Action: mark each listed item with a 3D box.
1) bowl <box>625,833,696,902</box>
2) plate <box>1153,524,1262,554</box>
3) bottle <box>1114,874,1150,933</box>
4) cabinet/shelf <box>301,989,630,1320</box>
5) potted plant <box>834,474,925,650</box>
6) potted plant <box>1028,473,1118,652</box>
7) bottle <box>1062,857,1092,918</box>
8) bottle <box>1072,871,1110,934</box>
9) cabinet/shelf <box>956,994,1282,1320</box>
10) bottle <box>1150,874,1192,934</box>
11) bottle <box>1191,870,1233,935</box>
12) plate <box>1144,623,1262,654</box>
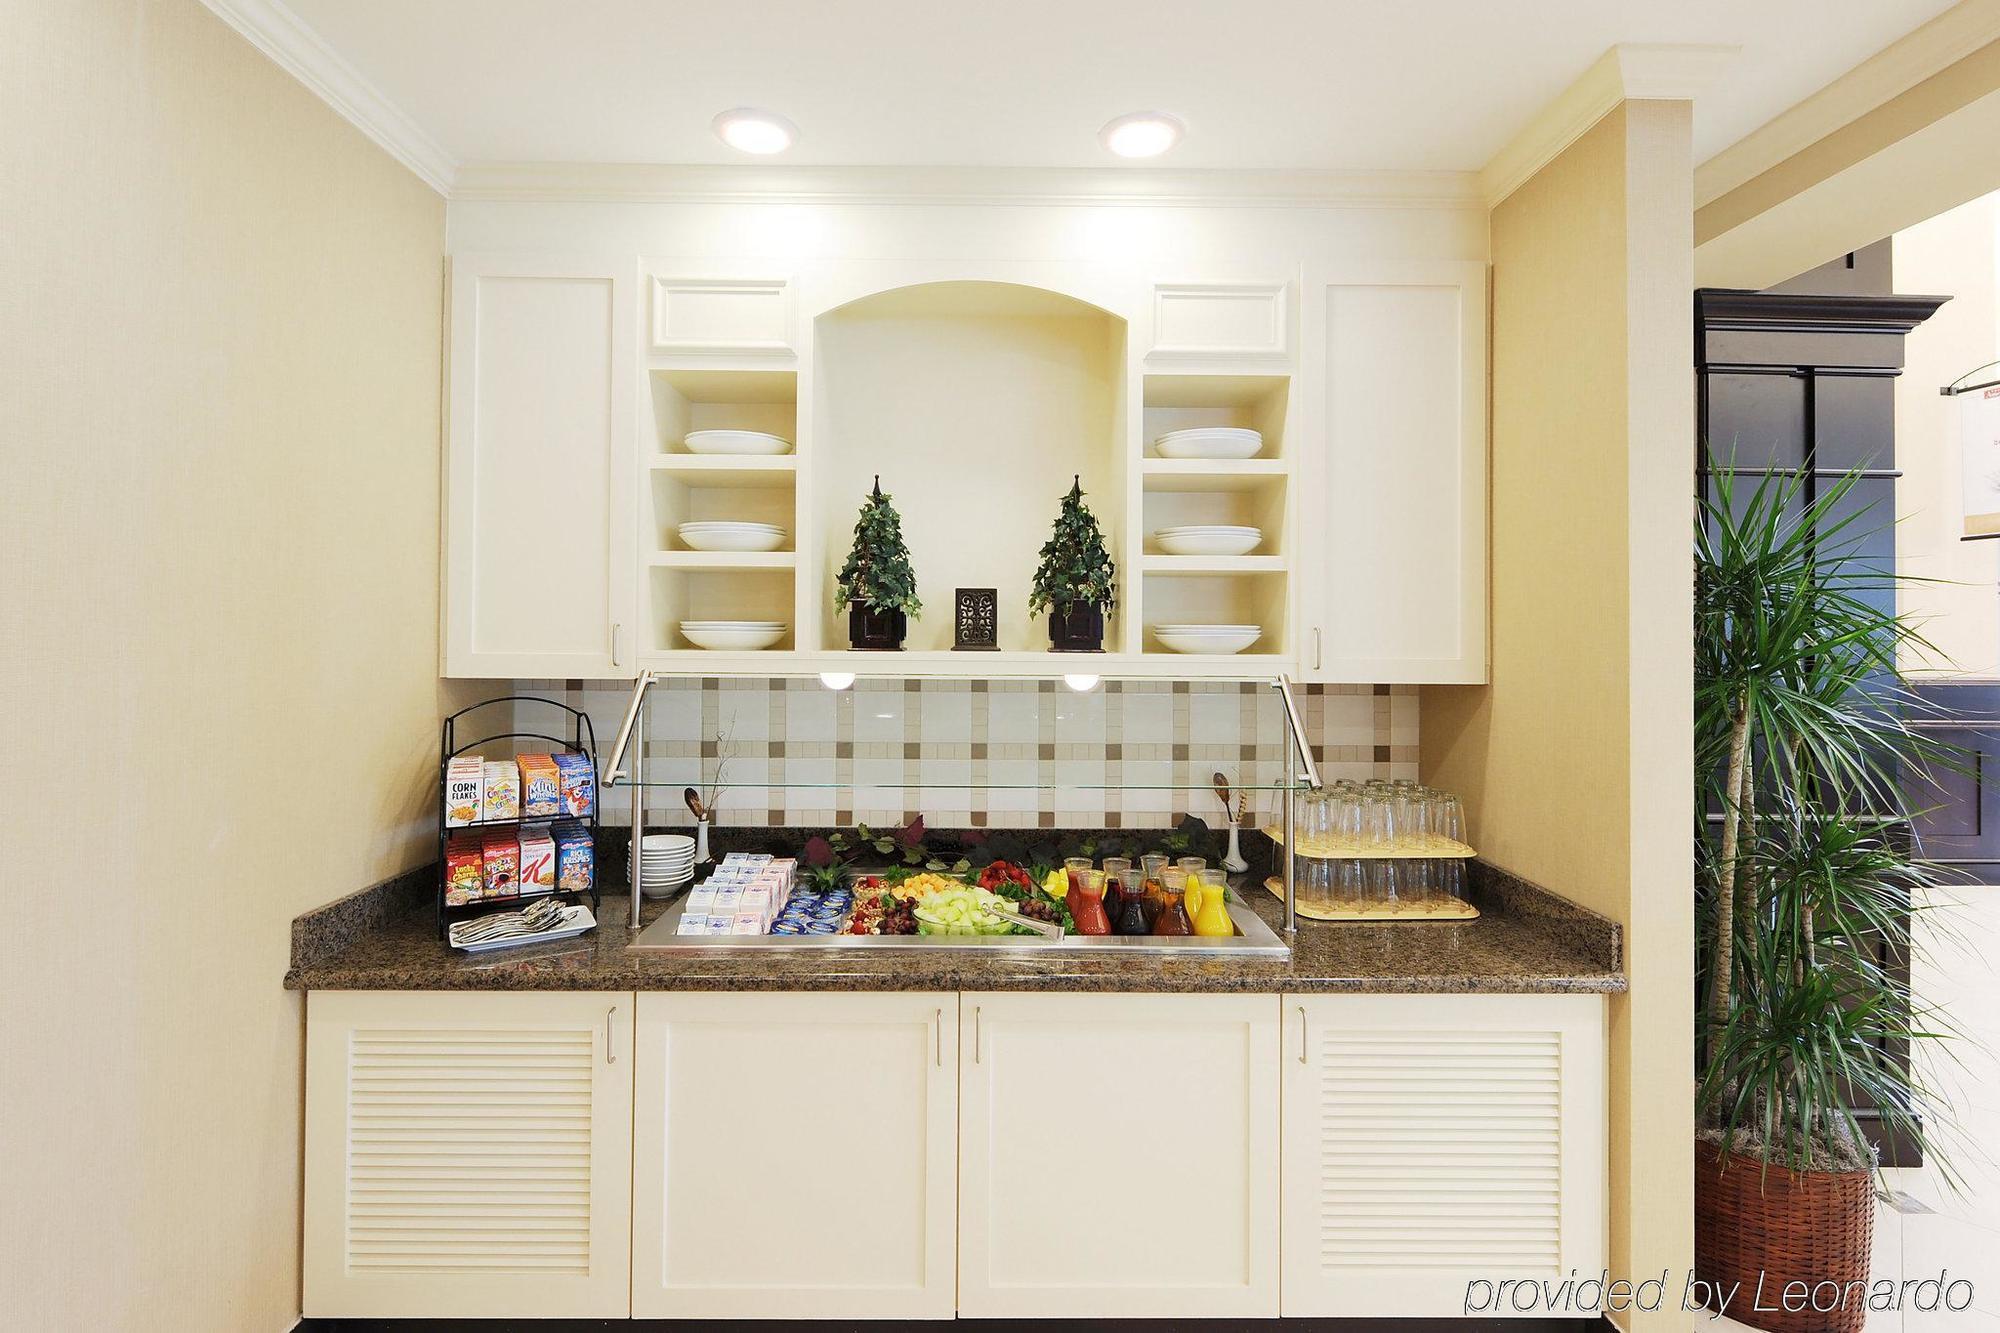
[{"bbox_3d":[-1.036,0.622,5.123,0.204,0.166,0.228,2,-5,-19],"label":"bowl"},{"bbox_3d":[0.659,-0.387,5.212,0.345,0.094,0.167,-1,1,-5],"label":"plate"},{"bbox_3d":[0.378,0.692,4.854,0.096,0.163,0.062,-1,1,4],"label":"bottle"},{"bbox_3d":[-1.399,1.293,5.048,1.190,1.160,0.809,0,-5,-3],"label":"cabinet/shelf"},{"bbox_3d":[-0.390,-0.295,5.225,0.246,0.491,0.200,-1,1,-6],"label":"potted plant"},{"bbox_3d":[0.222,-0.301,5.246,0.283,0.513,0.260,-1,1,8],"label":"potted plant"},{"bbox_3d":[0.229,0.655,4.882,0.116,0.162,0.118,1,0,0],"label":"bottle"},{"bbox_3d":[0.257,0.687,4.862,0.113,0.171,0.095,-1,1,2],"label":"bottle"},{"bbox_3d":[0.314,1.230,5.060,1.257,1.218,0.787,0,-1,3],"label":"cabinet/shelf"},{"bbox_3d":[0.487,0.697,4.878,0.124,0.168,0.143,0,-12,0],"label":"bottle"},{"bbox_3d":[0.597,0.702,4.857,0.117,0.156,0.159,0,-12,-1],"label":"bottle"},{"bbox_3d":[0.635,-0.082,5.251,0.346,0.099,0.302,0,1,10],"label":"plate"}]
